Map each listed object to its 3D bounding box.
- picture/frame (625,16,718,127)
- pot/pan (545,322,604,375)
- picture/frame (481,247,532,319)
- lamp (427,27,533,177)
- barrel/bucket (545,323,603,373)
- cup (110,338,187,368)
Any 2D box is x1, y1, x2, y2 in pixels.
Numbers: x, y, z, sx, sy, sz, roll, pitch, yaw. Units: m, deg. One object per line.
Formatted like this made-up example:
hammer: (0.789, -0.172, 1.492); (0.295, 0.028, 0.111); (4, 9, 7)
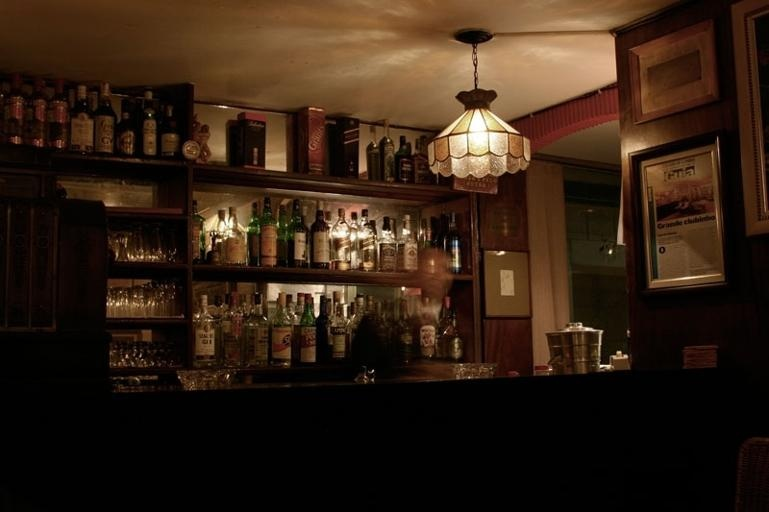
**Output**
picture/frame: (1.505, -0.955, 3.771); (0.064, 0.565, 0.607); (5, -8, -39)
pot/pan: (0.888, 0.431, 3.383); (0.230, 0.195, 0.233); (-3, -5, 34)
picture/frame: (0.859, 0.211, 5.226); (0.527, 0.560, 0.048); (3, -10, -30)
lamp: (0.602, -0.781, 4.152); (0.758, 0.813, 0.744); (-2, -7, 12)
barrel/bucket: (0.899, 0.424, 3.402); (0.234, 0.192, 0.228); (0, -5, 0)
cup: (-1.387, 0.574, 4.269); (0.395, 0.172, 0.173); (2, -7, -23)
